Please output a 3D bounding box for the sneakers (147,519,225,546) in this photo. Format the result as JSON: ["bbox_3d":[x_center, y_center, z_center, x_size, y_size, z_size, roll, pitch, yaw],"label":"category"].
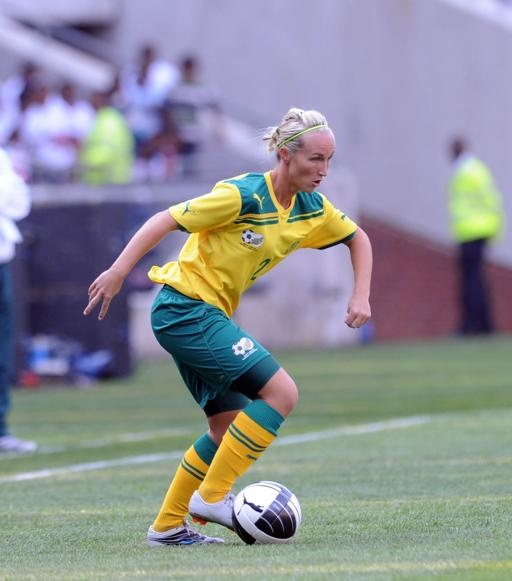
[{"bbox_3d":[-0.264,0.853,3.125,0.304,0.085,0.085,1,2,-7],"label":"sneakers"}]

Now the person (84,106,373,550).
[{"bbox_3d":[-0.078,0.138,3.147,1.070,1.563,0.506,-3,6,-17],"label":"person"}]

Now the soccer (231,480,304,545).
[{"bbox_3d":[0.032,0.768,3.048,0.221,0.182,0.163,-4,6,-25],"label":"soccer"}]

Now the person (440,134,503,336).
[{"bbox_3d":[1.560,-0.358,6.315,0.367,1.420,0.442,-1,6,11],"label":"person"}]
